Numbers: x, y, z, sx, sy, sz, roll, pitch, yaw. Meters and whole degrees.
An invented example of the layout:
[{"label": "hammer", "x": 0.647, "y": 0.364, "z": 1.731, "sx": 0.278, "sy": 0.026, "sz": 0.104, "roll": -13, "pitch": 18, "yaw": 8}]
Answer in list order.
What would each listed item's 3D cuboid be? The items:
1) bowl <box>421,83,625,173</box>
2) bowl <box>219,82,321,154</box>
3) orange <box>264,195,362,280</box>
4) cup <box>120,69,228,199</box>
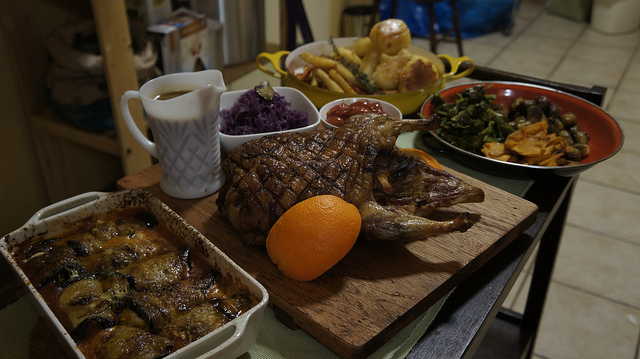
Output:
[{"label": "bowl", "x": 0.733, "y": -0.183, "z": 1.563, "sx": 0.462, "sy": 0.093, "sz": 0.468, "roll": 2, "pitch": 35, "yaw": -1}, {"label": "bowl", "x": -0.160, "y": -0.191, "z": 1.520, "sx": 0.308, "sy": 0.118, "sz": 0.235, "roll": -5, "pitch": 57, "yaw": -1}, {"label": "orange", "x": -0.018, "y": 0.180, "z": 1.269, "sx": 0.239, "sy": 0.252, "sz": 0.332, "roll": 2, "pitch": 0, "yaw": -30}, {"label": "cup", "x": -0.455, "y": -0.140, "z": 1.391, "sx": 0.356, "sy": 0.376, "sz": 0.235, "roll": -11, "pitch": 35, "yaw": -15}]
